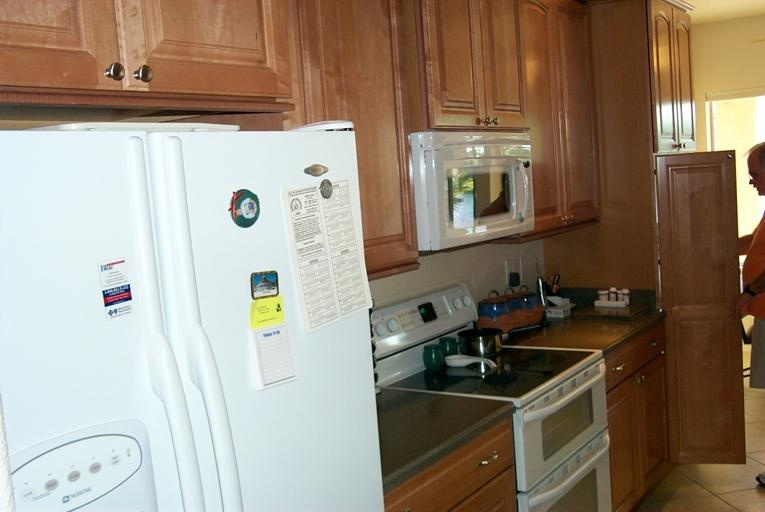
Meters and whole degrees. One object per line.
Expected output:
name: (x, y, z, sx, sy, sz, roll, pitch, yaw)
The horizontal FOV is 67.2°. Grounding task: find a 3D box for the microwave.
microwave: (0.348, -0.306, 2.904, 0.569, 0.637, 0.545, -5, 11, -29)
